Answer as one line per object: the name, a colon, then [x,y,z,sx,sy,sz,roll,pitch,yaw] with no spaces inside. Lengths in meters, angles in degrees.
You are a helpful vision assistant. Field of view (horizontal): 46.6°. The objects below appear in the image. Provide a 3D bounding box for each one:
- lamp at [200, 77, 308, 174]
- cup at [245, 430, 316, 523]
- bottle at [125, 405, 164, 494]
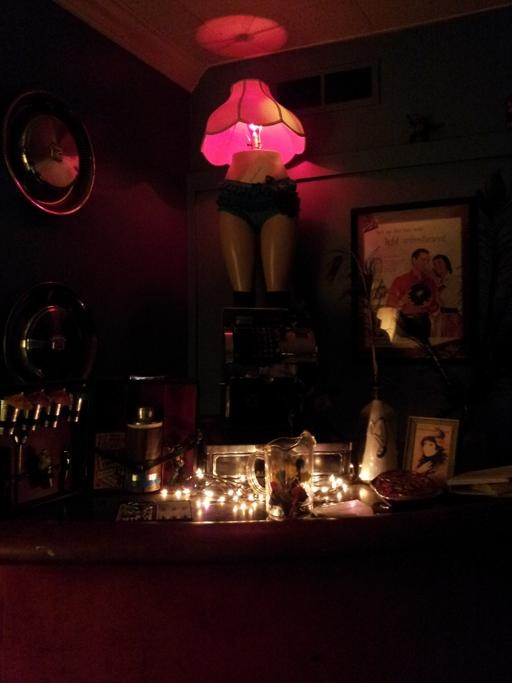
lamp: [-0.019,-0.746,1.969,0.324,0.218,0.321,-1,-4,-39]
cup: [0.076,0.312,1.400,0.116,0.188,0.117,2,-4,0]
bottle: [-0.280,0.279,1.516,0.100,0.216,0.063,4,-4,-21]
